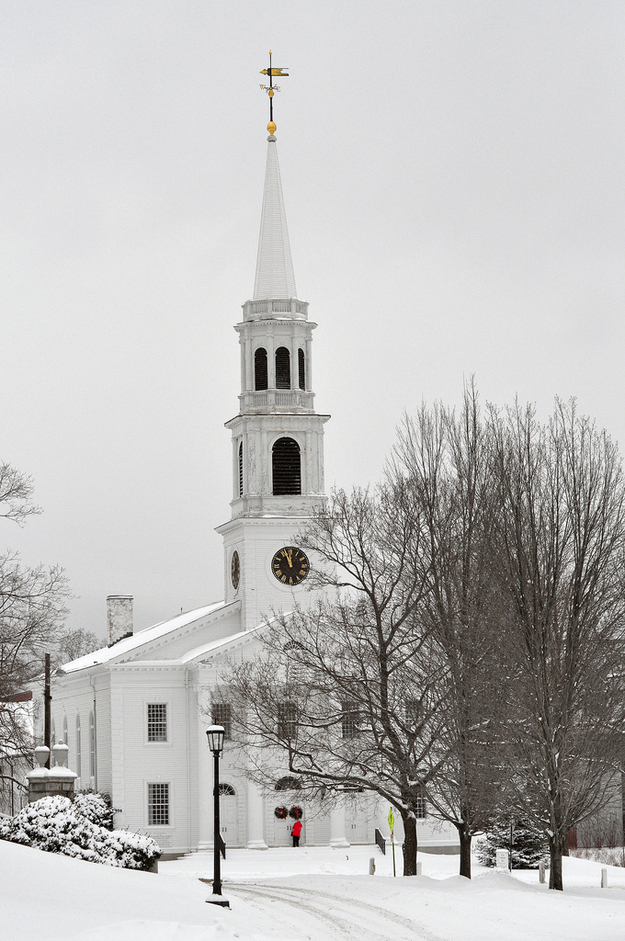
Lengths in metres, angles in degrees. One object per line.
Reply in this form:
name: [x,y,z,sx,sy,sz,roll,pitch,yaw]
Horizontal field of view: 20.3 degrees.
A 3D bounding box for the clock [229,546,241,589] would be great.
clock: [-3.113,4.144,70.809,0.312,1.599,1.412,4,-5,-6]
